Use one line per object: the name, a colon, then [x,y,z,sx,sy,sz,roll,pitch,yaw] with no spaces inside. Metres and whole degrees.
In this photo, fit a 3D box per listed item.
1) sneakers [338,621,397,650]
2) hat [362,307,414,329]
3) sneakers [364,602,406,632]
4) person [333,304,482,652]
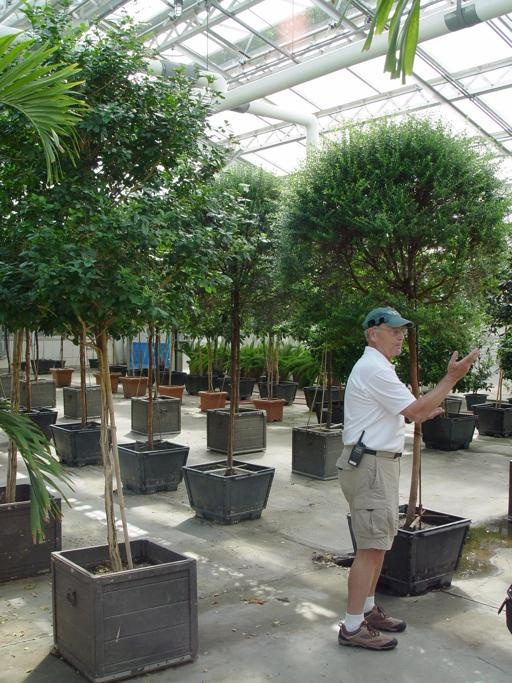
sneakers: [0.522,1.364,2.778,0.239,0.104,0.112,2,-9,1]
hat: [0.644,-0.105,2.896,0.179,0.081,0.120,-5,-4,31]
sneakers: [0.609,1.365,2.941,0.261,0.105,0.094,-3,-8,26]
person: [0.631,0.719,2.661,0.374,1.396,0.571,2,-2,-30]
